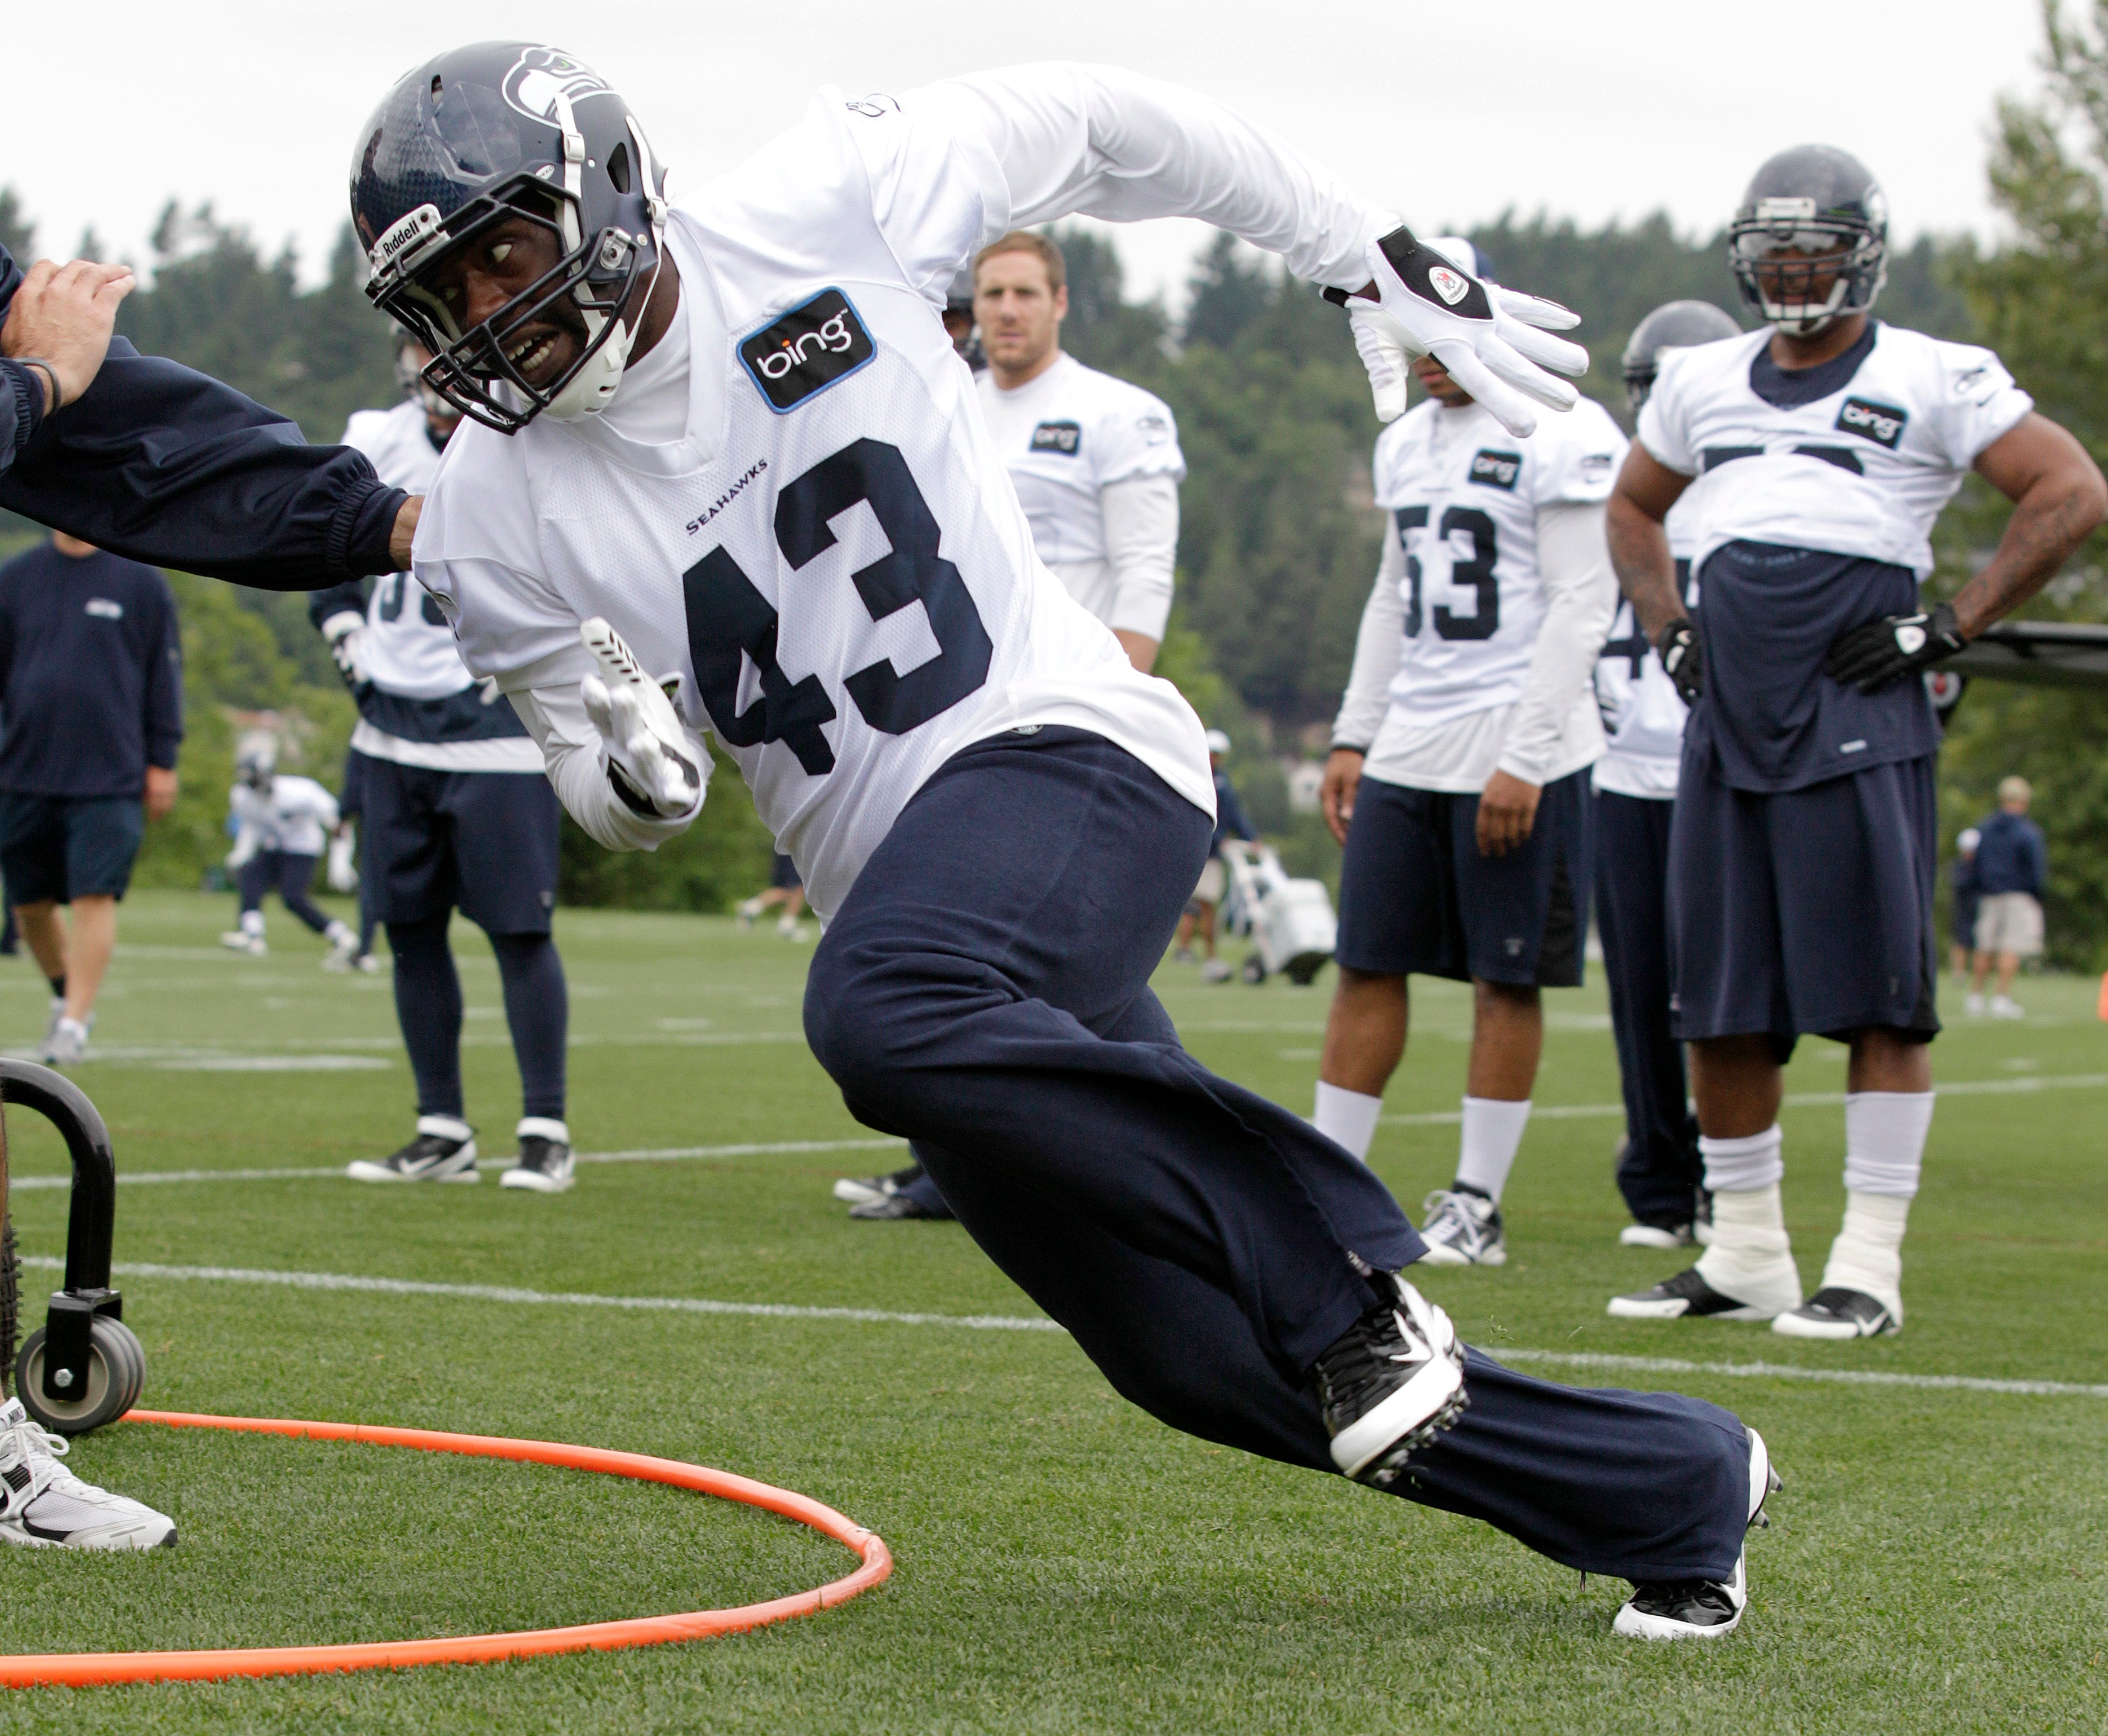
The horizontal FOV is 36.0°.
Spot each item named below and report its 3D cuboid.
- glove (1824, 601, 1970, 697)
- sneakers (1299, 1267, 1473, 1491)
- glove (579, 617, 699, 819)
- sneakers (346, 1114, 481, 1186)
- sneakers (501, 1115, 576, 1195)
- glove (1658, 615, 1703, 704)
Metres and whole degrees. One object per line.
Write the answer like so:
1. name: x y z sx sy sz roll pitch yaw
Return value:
1. glove: 1.768 -0.472 6.763 0.258 0.165 0.213 2 1 -6
2. sneakers: 0.486 0.699 4.527 0.176 0.138 0.358 33 22 9
3. glove: -0.565 -0.206 4.477 0.078 0.273 0.171 -24 -14 -46
4. sneakers: -1.638 0.753 8.614 0.415 0.207 0.144 5 -5 -36
5. sneakers: -1.340 0.756 8.529 0.100 0.139 0.307 0 -6 7
6. glove: 1.387 -0.473 7.148 0.053 0.155 0.112 -5 -28 8
